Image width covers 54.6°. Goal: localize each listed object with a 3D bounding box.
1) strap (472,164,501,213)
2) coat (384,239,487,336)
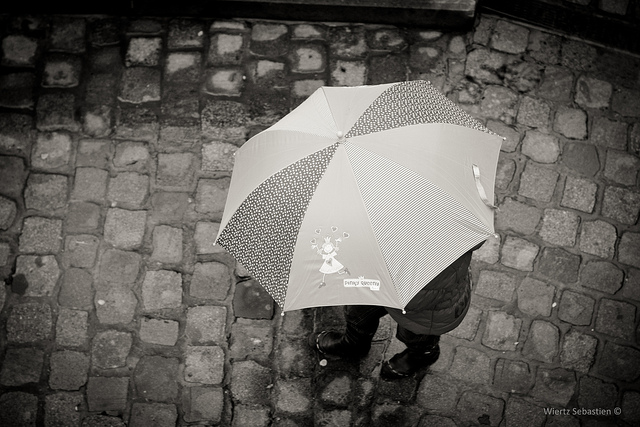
[{"bbox_3d":[1.449,-0.230,5.598,0.108,0.437,0.105,-23,-5,-2],"label":"strap"},{"bbox_3d":[1.036,0.655,6.191,0.696,1.193,1.098,2,18,1],"label":"coat"}]
